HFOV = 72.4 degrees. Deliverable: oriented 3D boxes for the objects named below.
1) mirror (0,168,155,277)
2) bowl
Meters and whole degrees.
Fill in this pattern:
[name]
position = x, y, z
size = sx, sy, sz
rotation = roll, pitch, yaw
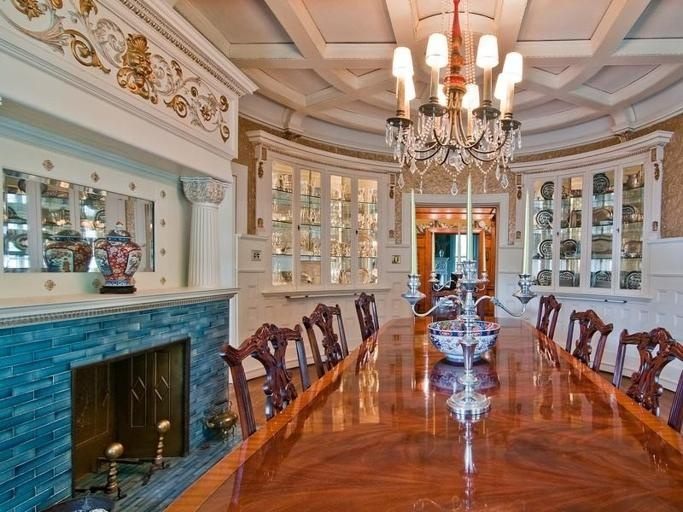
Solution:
[mirror]
position = -1.630, -0.173, 2.936
size = 0.060, 0.717, 0.978
rotation = 4, 10, 27
[bowl]
position = 0.662, 0.455, 2.621
size = 0.342, 0.178, 0.359
rotation = 0, -5, 0
